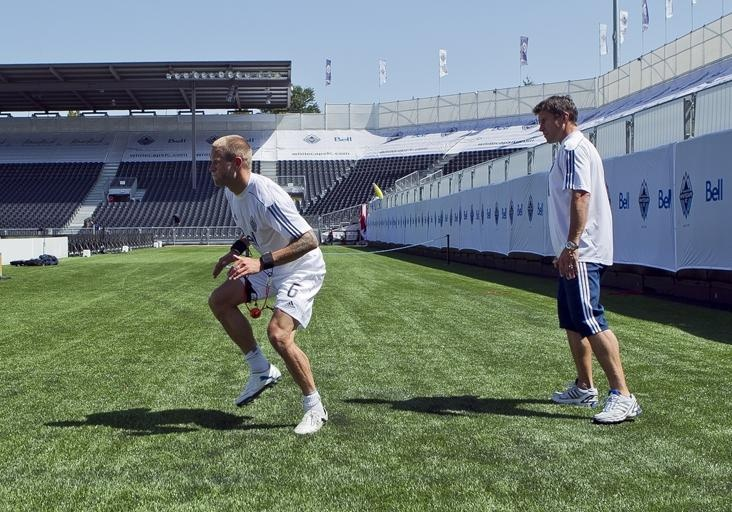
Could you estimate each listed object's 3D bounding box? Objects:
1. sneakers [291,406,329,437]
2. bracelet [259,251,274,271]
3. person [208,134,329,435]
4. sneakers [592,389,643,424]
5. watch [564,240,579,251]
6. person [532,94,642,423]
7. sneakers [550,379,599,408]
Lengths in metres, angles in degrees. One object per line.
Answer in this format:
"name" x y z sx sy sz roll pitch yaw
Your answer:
"sneakers" -0.410 1.146 4.728 0.105 0.114 0.292 1 4 22
"bracelet" -0.708 0.029 4.826 0.079 0.131 0.131 -2 -7 -1
"person" -0.741 0.136 5.043 0.768 2.090 1.132 -5 7 -38
"sneakers" 1.864 1.088 4.964 0.422 0.231 0.147 -4 -5 -33
"watch" 1.508 -0.076 4.969 0.078 0.062 0.087 -1 5 -13
"person" 1.652 -0.049 5.141 0.749 2.390 0.809 1 6 15
"sneakers" 1.646 1.071 5.322 0.354 0.207 0.161 3 0 20
